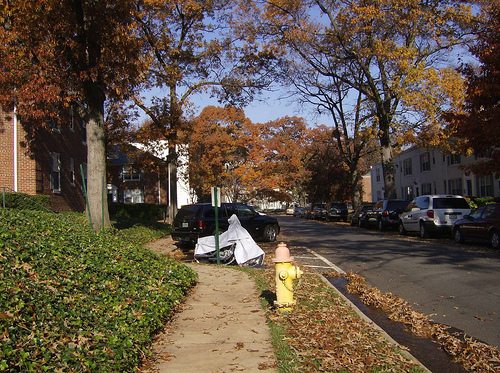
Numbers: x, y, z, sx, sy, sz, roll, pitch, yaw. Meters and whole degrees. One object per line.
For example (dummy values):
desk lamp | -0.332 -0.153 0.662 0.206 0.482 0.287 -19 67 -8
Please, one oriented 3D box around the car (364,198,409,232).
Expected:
car | 8.063 1.516 28.301 1.262 1.340 2.823 -1 0 -9

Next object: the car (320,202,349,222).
car | 7.583 2.171 42.463 1.198 1.281 2.713 0 0 -9

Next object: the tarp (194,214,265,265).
tarp | -0.369 1.732 15.886 2.272 1.760 1.294 -4 -5 35

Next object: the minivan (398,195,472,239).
minivan | 8.515 1.325 22.367 1.551 1.353 3.232 -1 0 -7

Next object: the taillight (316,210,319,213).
taillight | 6.932 2.509 48.232 0.121 0.261 0.572 1 -4 -14

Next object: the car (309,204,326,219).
car | 7.046 2.558 48.664 1.383 1.278 3.245 -1 -3 3

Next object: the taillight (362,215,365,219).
taillight | 7.597 1.986 31.455 0.165 0.182 0.097 3 15 16

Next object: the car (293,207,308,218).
car | 7.051 3.610 65.703 1.289 1.122 2.837 1 0 13

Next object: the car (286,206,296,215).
car | 7.188 4.256 82.439 1.227 1.126 2.286 0 1 8

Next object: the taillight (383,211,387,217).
taillight | 7.759 1.548 27.067 0.230 0.309 0.069 -2 -3 40

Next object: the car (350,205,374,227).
car | 7.673 2.028 32.183 1.282 1.180 3.027 0 0 -1

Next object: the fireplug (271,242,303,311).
fireplug | 0.763 1.808 9.493 0.575 1.332 0.506 0 -2 3

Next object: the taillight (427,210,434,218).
taillight | 8.129 1.221 21.179 0.299 0.250 0.438 2 -12 9

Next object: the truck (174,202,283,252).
truck | -0.589 1.466 19.735 4.185 1.773 1.982 -4 -1 -37

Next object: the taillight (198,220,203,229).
taillight | -1.956 1.497 18.749 0.214 0.443 0.236 0 -5 9
